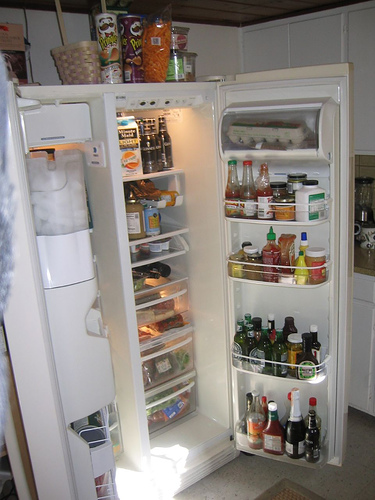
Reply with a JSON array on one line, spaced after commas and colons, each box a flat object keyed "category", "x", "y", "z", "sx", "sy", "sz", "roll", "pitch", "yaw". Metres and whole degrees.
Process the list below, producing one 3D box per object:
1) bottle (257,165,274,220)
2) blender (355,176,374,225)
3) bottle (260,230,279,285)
[{"category": "bottle", "x": 0.297, "y": -0.218, "z": 1.525, "sx": 0.062, "sy": 0.203, "sz": 0.055, "roll": -3, "pitch": 13, "yaw": 9}, {"category": "blender", "x": 1.039, "y": -0.293, "z": 2.361, "sx": 0.097, "sy": 0.260, "sz": 0.212, "roll": 1, "pitch": 14, "yaw": 23}, {"category": "bottle", "x": 0.328, "y": 0.026, "z": 1.601, "sx": 0.075, "sy": 0.206, "sz": 0.149, "roll": -2, "pitch": 13, "yaw": 10}]
